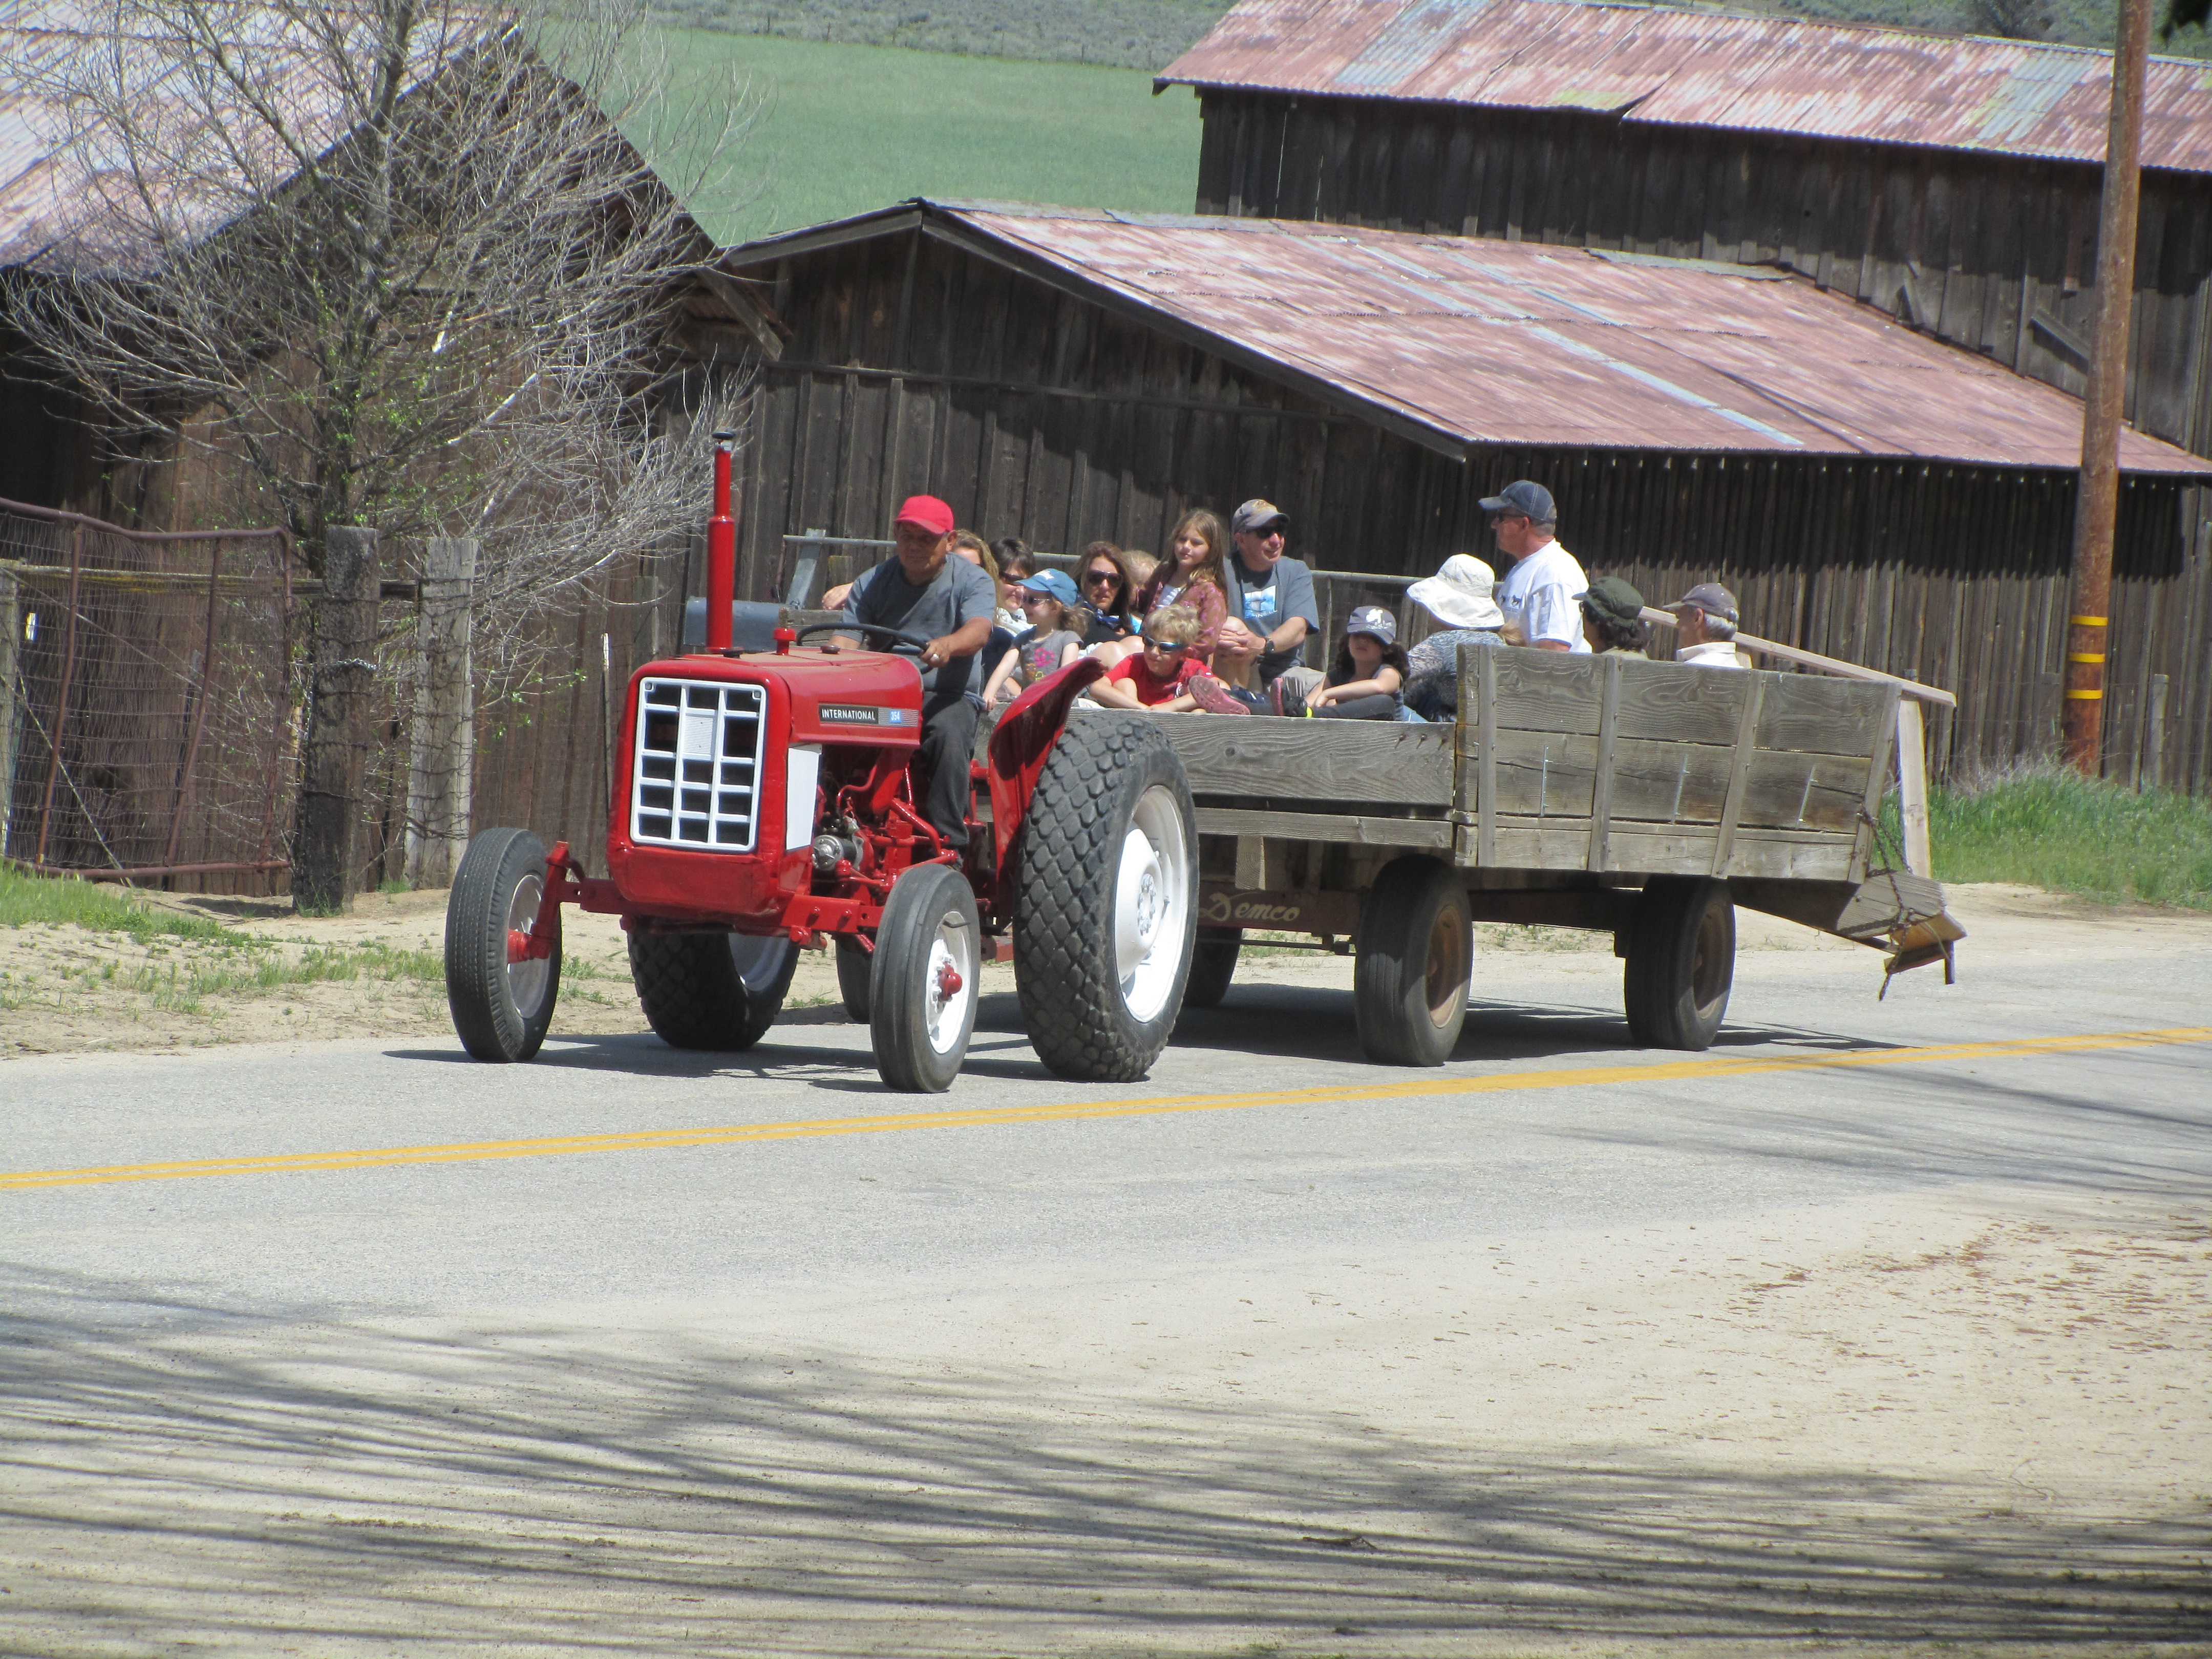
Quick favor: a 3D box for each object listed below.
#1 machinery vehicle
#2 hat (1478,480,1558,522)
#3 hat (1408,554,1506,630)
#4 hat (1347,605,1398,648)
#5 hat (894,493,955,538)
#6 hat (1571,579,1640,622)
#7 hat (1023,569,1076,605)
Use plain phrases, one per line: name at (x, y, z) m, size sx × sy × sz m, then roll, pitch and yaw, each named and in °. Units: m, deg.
machinery vehicle at (-1.305, -0.227, 23.005) m, size 2.544 × 3.135 × 3.977 m, roll 3°, pitch 1°, yaw 22°
hat at (2.118, -1.667, 24.035) m, size 0.490 × 0.280 × 0.344 m, roll 5°, pitch 8°, yaw 11°
hat at (1.876, -1.112, 24.517) m, size 0.434 × 0.239 × 0.426 m, roll 29°, pitch 18°, yaw 15°
hat at (1.420, -1.026, 24.287) m, size 0.237 × 0.232 × 0.464 m, roll 3°, pitch 11°, yaw 0°
hat at (-0.872, -1.490, 22.573) m, size 0.245 × 0.204 × 0.351 m, roll 6°, pitch 0°, yaw 14°
hat at (2.690, -1.178, 24.263) m, size 0.338 × 0.198 × 0.400 m, roll 4°, pitch 11°, yaw 3°
hat at (-0.268, -1.436, 27.372) m, size 0.311 × 0.174 × 0.223 m, roll 11°, pitch -4°, yaw -26°
